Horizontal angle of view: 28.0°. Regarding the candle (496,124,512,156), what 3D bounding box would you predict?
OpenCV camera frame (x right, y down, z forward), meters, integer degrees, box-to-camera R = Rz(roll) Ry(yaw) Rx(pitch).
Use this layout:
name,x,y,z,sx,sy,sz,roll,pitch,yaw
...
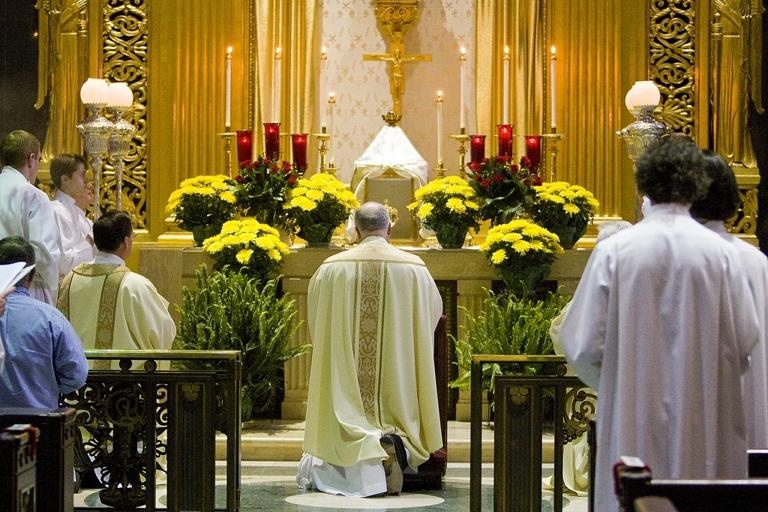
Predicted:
name,x,y,z,sx,sy,sz,roll,pitch,yaw
candle,0.970,-0.924,12.361,0.102,0.297,0.211,0,-5,7

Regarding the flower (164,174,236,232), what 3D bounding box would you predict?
name,x,y,z,sx,sy,sz,roll,pitch,yaw
flower,-1.456,-0.437,12.344,0.474,0.374,0.450,-2,5,-9

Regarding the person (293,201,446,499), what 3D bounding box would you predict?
name,x,y,z,sx,sy,sz,roll,pitch,yaw
person,-0.097,0.670,11.096,1.018,2.081,0.308,1,-5,-4

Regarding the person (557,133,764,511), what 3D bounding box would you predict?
name,x,y,z,sx,sy,sz,roll,pitch,yaw
person,1.664,0.409,9.236,1.127,2.218,0.371,-1,-5,13

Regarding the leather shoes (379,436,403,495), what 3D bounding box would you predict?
name,x,y,z,sx,sy,sz,roll,pitch,yaw
leather shoes,0.048,1.486,10.993,0.153,0.420,0.075,1,-5,-12

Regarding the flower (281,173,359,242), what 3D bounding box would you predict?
name,x,y,z,sx,sy,sz,roll,pitch,yaw
flower,-0.491,-0.377,12.237,0.558,0.516,0.545,0,2,-6

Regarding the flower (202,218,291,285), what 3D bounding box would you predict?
name,x,y,z,sx,sy,sz,roll,pitch,yaw
flower,-1.052,-0.048,12.008,0.551,0.451,0.531,2,5,-21

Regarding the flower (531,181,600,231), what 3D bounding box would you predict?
name,x,y,z,sx,sy,sz,roll,pitch,yaw
flower,1.416,-0.406,12.175,0.428,0.278,0.412,-1,6,-9

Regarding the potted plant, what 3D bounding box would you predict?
name,x,y,z,sx,sy,sz,roll,pitch,yaw
potted plant,-1.235,0.681,11.985,1.109,1.494,1.290,-1,-2,34

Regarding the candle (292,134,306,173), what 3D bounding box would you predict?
name,x,y,z,sx,sy,sz,roll,pitch,yaw
candle,-0.685,-0.821,12.388,0.111,0.312,0.104,1,-5,-10

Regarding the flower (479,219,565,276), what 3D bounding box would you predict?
name,x,y,z,sx,sy,sz,roll,pitch,yaw
flower,1.087,-0.095,11.901,0.452,0.329,0.472,-2,3,-29

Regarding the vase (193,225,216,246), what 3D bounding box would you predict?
name,x,y,z,sx,sy,sz,roll,pitch,yaw
vase,-1.445,-0.156,12.332,0.163,0.139,0.164,2,-5,-27

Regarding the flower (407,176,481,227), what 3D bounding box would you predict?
name,x,y,z,sx,sy,sz,roll,pitch,yaw
flower,0.505,-0.410,12.216,0.455,0.369,0.423,0,2,-22

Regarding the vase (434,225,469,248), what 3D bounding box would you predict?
name,x,y,z,sx,sy,sz,roll,pitch,yaw
vase,0.537,-0.165,12.348,0.212,0.141,0.210,1,-10,0

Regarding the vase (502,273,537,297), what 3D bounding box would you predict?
name,x,y,z,sx,sy,sz,roll,pitch,yaw
vase,1.079,0.224,12.012,0.295,0.185,0.229,2,-5,-15

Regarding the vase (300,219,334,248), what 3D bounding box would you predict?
name,x,y,z,sx,sy,sz,roll,pitch,yaw
vase,-0.538,-0.179,12.338,0.212,0.119,0.216,1,-9,3

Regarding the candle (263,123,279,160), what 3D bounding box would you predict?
name,x,y,z,sx,sy,sz,roll,pitch,yaw
candle,-0.908,-0.917,12.446,0.112,0.320,0.100,1,-5,-11
